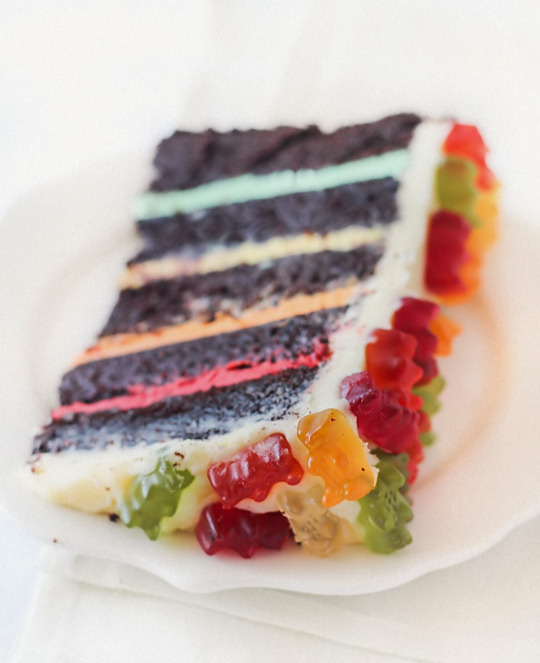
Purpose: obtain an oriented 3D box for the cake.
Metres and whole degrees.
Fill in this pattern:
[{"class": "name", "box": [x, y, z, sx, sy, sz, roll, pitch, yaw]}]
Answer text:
[{"class": "cake", "box": [0.025, 0.013, 0.856, 0.486, 0.445, 0.180, 14, -22, 10]}]
